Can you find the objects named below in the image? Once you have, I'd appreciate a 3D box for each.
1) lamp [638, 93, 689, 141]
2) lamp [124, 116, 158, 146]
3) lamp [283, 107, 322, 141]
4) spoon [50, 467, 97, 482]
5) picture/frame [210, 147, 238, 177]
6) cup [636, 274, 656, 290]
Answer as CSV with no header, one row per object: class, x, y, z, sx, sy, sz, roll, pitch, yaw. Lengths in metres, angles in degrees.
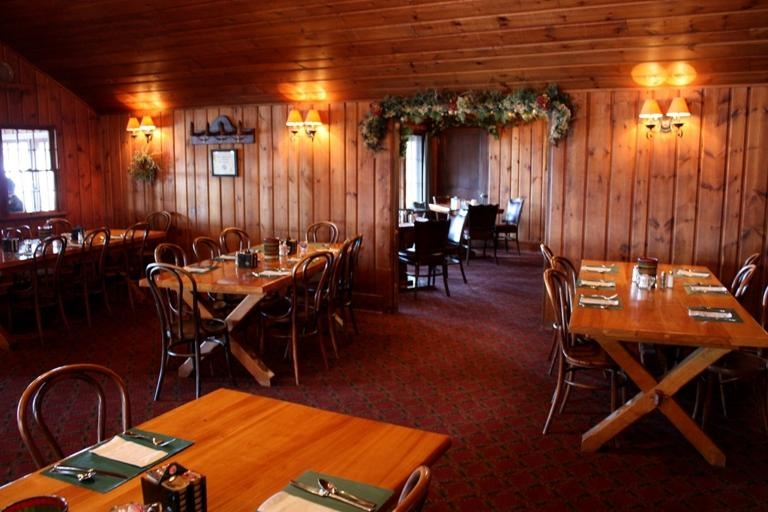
lamp,2.810,-1.380,5.633,0.234,0.372,0.431,0,4,-27
lamp,-3.495,-1.814,7.951,0.541,0.447,0.366,1,-2,11
lamp,-1.028,-1.663,7.004,0.628,0.419,0.364,1,0,19
spoon,-1.320,0.906,2.355,0.181,0.049,0.071,0,-4,19
picture/frame,-2.178,-1.286,7.590,0.411,0.349,0.029,3,5,24
cup,2.202,0.233,4.662,0.134,0.120,0.106,3,0,23
